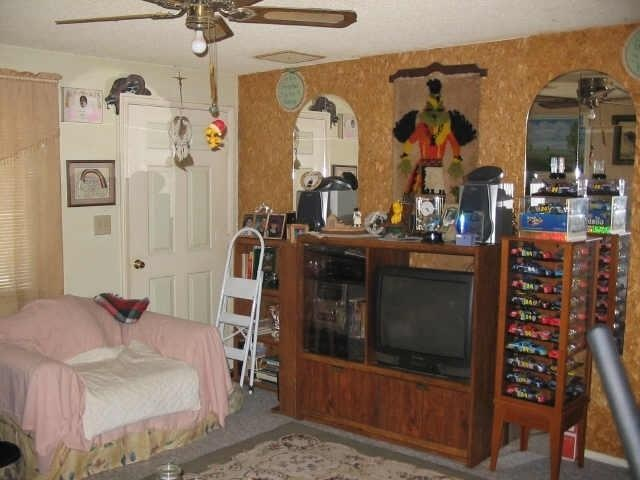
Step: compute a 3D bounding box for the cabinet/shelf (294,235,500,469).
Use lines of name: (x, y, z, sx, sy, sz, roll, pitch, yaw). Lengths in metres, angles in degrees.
cabinet/shelf: (0.552, 0.738, 4.031, 1.506, 1.461, 0.544, 3, 7, 40)

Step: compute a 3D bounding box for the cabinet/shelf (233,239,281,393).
cabinet/shelf: (-0.644, 0.645, 4.617, 0.295, 1.304, 0.544, -7, 5, 24)

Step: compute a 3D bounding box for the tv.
tv: (0.731, 0.585, 3.620, 0.760, 0.750, 0.403, 4, 6, 31)

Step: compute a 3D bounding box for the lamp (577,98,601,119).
lamp: (1.799, -0.871, 3.517, 0.156, 0.149, 0.038, 0, -2, 36)

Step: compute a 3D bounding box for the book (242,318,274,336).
book: (-0.548, 0.742, 4.717, 0.216, 0.210, 0.114, 1, -2, -41)

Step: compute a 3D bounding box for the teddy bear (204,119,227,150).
teddy bear: (-0.670, -0.659, 3.312, 0.146, 0.204, 0.128, 26, 34, 27)

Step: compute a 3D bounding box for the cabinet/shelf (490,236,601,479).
cabinet/shelf: (1.454, 0.748, 3.441, 0.608, 1.536, 0.478, 3, 6, 23)

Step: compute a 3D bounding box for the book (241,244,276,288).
book: (-0.546, 0.239, 4.690, 0.198, 0.345, 0.352, -3, 6, -39)

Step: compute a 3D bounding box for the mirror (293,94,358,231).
mirror: (-0.050, -0.702, 4.686, 0.387, 1.180, 0.730, -5, 7, -42)

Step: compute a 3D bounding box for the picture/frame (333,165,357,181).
picture/frame: (0.203, -0.597, 4.629, 0.264, 0.128, 0.013, 4, 6, 33)

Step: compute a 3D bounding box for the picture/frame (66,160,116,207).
picture/frame: (-1.998, -0.487, 4.526, 0.394, 0.399, 0.030, -5, 10, -40)
